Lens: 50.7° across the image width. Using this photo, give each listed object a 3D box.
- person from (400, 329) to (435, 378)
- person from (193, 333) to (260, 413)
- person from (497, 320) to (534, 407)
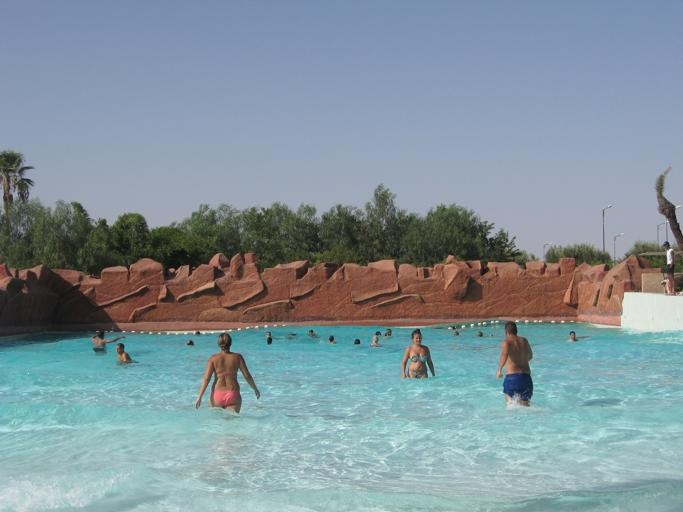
[{"bbox_3d":[1.574,2.024,14.960,0.665,1.275,1.797,-1,4,5],"label":"person"},{"bbox_3d":[-1.935,2.369,12.173,1.112,2.247,0.435,-1,11,-12],"label":"person"},{"bbox_3d":[2.977,1.905,12.388,0.544,1.593,0.862,-1,4,15],"label":"person"}]
